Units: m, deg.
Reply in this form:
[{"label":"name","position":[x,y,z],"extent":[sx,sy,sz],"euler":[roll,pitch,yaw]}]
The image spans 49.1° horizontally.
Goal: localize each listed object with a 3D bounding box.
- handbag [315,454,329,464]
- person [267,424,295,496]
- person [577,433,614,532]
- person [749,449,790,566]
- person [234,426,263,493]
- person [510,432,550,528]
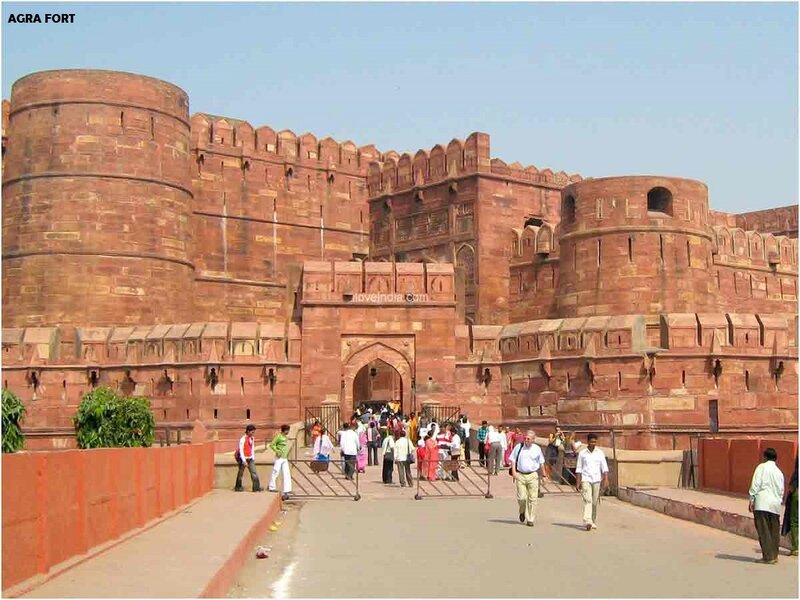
[{"label":"handbag","position":[-1.462,3.010,16.476],"extent":[0.204,0.164,0.326],"euler":[3,2,-18]},{"label":"person","position":[-2.121,2.831,15.339],"extent":[0.402,1.116,1.143],"euler":[2,-1,-8]},{"label":"person","position":[2.728,2.584,12.381],"extent":[0.395,0.934,0.944],"euler":[2,-1,14]},{"label":"person","position":[4.279,2.409,10.144],"extent":[0.346,1.305,0.445],"euler":[1,-1,24]},{"label":"person","position":[-2.814,2.880,16.062],"extent":[0.489,1.107,1.894],"euler":[2,-1,-11]},{"label":"person","position":[1.795,2.577,12.422],"extent":[0.466,0.961,0.573],"euler":[2,-1,8]}]
